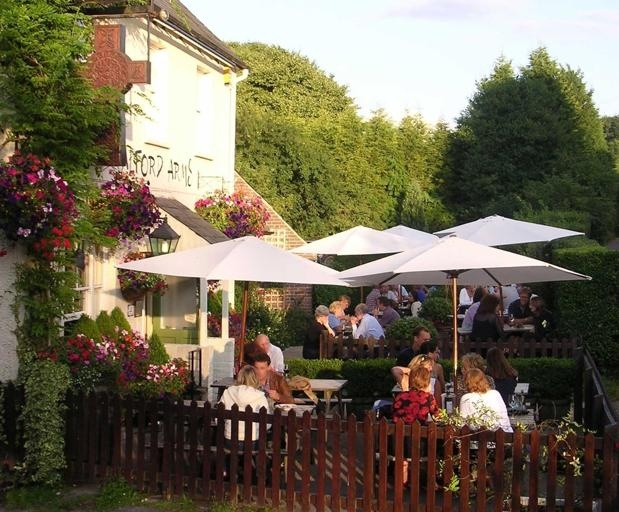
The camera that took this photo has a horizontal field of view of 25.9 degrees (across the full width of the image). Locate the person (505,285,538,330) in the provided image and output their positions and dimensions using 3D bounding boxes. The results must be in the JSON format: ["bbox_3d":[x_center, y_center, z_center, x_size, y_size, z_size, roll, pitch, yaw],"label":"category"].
[{"bbox_3d":[4.124,1.048,26.486,0.521,0.807,0.481,5,-1,-15],"label":"person"}]

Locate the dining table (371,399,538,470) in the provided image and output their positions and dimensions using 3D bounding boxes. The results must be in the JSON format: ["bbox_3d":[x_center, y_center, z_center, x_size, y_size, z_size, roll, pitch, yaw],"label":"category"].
[{"bbox_3d":[1.927,2.530,19.109,2.220,0.873,1.807,1,-6,15],"label":"dining table"}]

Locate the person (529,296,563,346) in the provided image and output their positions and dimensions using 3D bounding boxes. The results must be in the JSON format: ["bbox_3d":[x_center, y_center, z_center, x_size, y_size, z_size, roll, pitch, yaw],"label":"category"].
[{"bbox_3d":[4.397,1.242,25.167,0.592,1.186,1.098,-2,-1,14],"label":"person"}]

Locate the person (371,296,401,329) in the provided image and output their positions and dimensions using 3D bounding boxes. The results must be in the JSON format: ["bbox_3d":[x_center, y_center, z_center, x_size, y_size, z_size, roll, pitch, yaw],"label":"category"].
[{"bbox_3d":[1.460,1.263,26.484,0.483,0.958,0.458,1,20,10],"label":"person"}]

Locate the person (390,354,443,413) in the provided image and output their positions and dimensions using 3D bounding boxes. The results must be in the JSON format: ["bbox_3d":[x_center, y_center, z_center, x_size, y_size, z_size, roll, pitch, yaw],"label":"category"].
[{"bbox_3d":[1.579,1.906,19.961,0.640,1.365,0.419,-4,-4,-28],"label":"person"}]

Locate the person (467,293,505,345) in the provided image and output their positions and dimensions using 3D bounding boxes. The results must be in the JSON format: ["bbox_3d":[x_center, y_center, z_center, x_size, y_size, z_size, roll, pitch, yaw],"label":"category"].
[{"bbox_3d":[3.149,1.094,24.192,0.617,0.863,0.433,19,25,29],"label":"person"}]

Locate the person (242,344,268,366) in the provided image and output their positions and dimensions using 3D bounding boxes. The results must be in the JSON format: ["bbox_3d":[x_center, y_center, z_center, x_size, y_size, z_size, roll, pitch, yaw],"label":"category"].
[{"bbox_3d":[-0.842,1.539,20.987,0.222,0.338,0.760,-1,-8,5],"label":"person"}]

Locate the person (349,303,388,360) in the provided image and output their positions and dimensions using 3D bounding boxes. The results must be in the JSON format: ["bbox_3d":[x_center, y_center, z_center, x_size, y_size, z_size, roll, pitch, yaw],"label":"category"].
[{"bbox_3d":[1.034,1.473,25.118,0.525,1.136,0.519,0,16,10],"label":"person"}]

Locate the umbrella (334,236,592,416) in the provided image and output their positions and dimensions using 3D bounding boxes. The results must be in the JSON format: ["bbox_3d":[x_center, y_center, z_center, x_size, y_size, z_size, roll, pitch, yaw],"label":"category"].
[{"bbox_3d":[2.159,1.197,20.946,2.647,1.829,2.492,-5,8,-37],"label":"umbrella"}]
